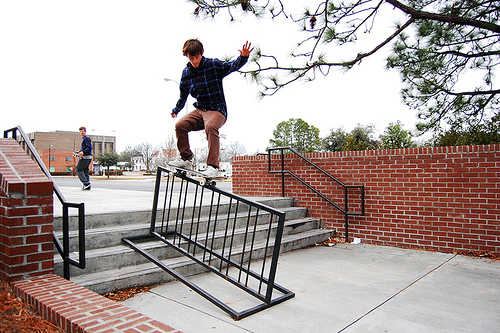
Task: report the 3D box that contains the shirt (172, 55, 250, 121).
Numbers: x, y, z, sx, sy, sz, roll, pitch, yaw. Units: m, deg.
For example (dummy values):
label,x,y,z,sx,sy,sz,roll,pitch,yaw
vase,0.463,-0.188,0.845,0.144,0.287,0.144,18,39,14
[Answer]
label,x,y,z,sx,sy,sz,roll,pitch,yaw
shirt,-0.734,-1.417,6.288,1.540,1.096,0.340,5,9,34

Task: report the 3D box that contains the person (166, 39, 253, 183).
label,x,y,z,sx,sy,sz,roll,pitch,yaw
person,-0.824,-1.021,6.186,1.566,2.464,0.671,4,8,23

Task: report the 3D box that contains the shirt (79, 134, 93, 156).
label,x,y,z,sx,sy,sz,roll,pitch,yaw
shirt,-5.608,-0.713,11.744,0.538,0.793,0.890,1,-2,-18

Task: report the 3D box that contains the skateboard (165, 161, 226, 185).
label,x,y,z,sx,sy,sz,roll,pitch,yaw
skateboard,-0.993,0.104,6.126,1.322,0.344,0.192,14,53,26
